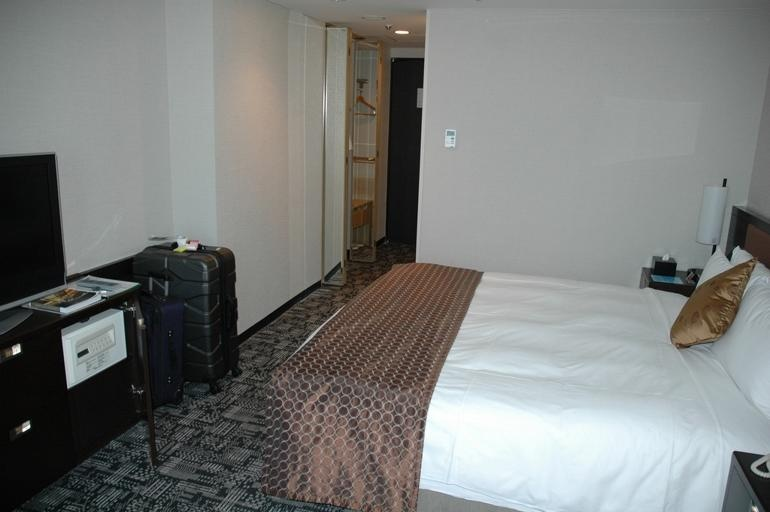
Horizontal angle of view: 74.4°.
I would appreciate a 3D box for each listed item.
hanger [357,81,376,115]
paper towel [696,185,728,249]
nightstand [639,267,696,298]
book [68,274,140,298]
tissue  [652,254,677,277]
[{"bbox_3d":[-0.270,-2.355,7.552,0.497,0.461,0.153,10,26,26],"label":"hanger"},{"bbox_3d":[2.956,-0.334,4.623,0.204,0.525,0.215,4,-4,7],"label":"paper towel"},{"bbox_3d":[2.513,0.221,4.540,0.317,0.207,0.328,7,23,16],"label":"nightstand"},{"bbox_3d":[-1.847,0.195,3.309,0.244,0.026,0.176,8,15,19],"label":"book"},{"bbox_3d":[2.535,0.078,4.685,0.217,0.234,0.214,1,12,8],"label":"tissue "}]
